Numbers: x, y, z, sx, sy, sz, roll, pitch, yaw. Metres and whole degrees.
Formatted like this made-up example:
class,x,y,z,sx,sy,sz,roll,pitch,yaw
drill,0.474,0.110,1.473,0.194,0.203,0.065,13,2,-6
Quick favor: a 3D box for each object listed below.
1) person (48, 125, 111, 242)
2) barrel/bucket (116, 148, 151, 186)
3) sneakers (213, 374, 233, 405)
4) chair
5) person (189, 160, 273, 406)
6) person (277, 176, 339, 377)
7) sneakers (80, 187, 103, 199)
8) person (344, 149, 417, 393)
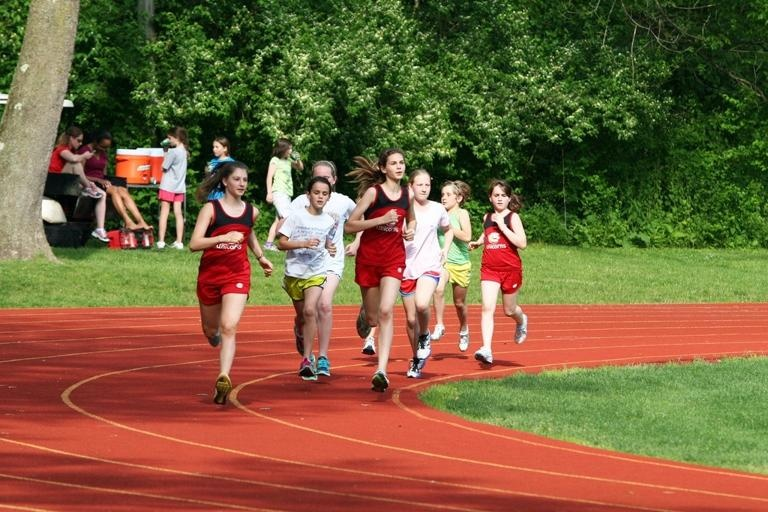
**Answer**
class,x,y,z,sx,sy,sz,roll,pitch,yaw
person,-6.229,-1.465,19.569,1.218,2.132,0.928,1,0,-29
barrel/bucket,-5.792,-2.057,22.246,0.833,0.749,0.872,0,1,0
sneakers,-1.702,1.385,10.104,0.157,0.394,0.175,10,33,-4
chair,-6.146,-0.951,19.515,1.432,0.846,1.397,2,6,17
person,-1.737,0.253,10.564,0.765,2.478,1.065,1,0,-7
person,-0.940,0.258,11.417,0.631,2.312,1.085,1,0,3
sneakers,-5.923,-1.275,19.447,0.347,0.194,0.291,1,1,16
person,-0.056,0.147,11.076,0.746,2.717,0.942,1,0,8
